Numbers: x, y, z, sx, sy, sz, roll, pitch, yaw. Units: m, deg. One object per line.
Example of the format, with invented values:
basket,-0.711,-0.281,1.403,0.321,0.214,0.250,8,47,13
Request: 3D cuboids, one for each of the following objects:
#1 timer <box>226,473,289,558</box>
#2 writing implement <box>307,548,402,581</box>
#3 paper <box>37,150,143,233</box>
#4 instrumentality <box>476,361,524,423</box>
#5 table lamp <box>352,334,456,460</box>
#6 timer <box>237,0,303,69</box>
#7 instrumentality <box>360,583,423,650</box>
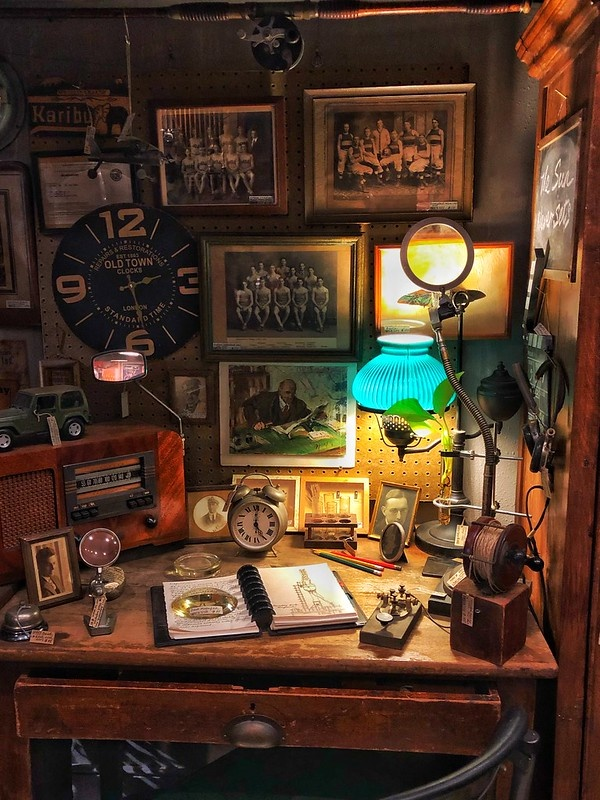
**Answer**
timer,-0.128,0.326,1.939,0.167,0.218,0.105,1,5,-5
writing implement,0.152,0.447,1.874,0.280,0.019,0.072,7,17,35
paper,-0.650,-0.649,2.056,0.294,0.245,0.027,-14,51,-31
instrumentality,0.513,-0.026,1.798,0.145,0.169,0.139,-4,10,-18
table lamp,0.272,-0.020,1.931,0.326,0.371,0.320,0,7,10
timer,-0.086,-0.923,1.715,0.177,0.127,0.133,-4,12,-21
instrumentality,0.214,0.482,1.531,0.094,0.068,0.196,4,13,23
